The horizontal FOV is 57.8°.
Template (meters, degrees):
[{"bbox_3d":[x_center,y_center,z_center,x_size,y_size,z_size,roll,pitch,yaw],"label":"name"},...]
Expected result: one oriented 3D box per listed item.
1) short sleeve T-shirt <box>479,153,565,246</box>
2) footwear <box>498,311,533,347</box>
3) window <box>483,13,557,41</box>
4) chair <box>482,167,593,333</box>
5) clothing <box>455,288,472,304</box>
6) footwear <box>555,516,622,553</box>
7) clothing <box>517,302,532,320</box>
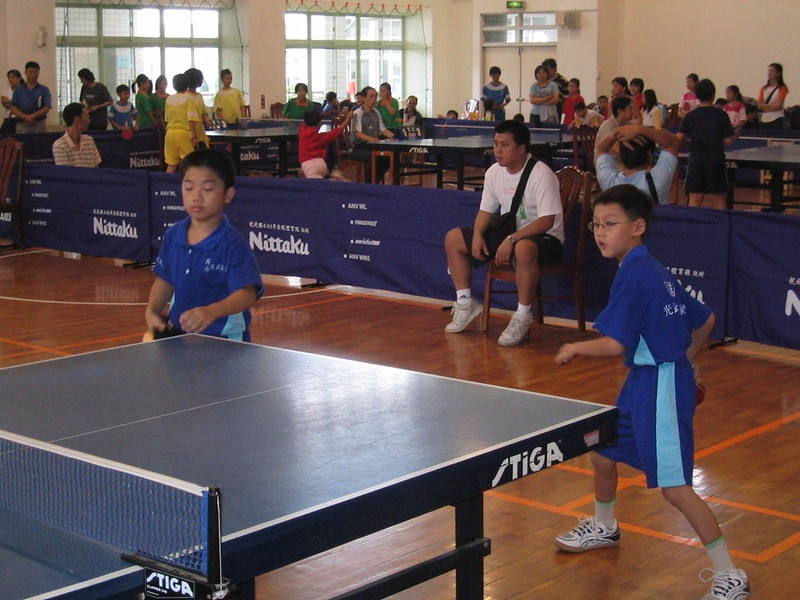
[{"bbox_3d":[0.951,-0.778,5.680,0.704,0.646,0.326,13,25,44],"label":"short sleeve T-shirt"},{"bbox_3d":[0.873,0.240,5.435,0.137,0.155,0.392,25,53,21],"label":"footwear"},{"bbox_3d":[3.265,-7.485,20.145,2.212,0.994,0.205,6,10,31],"label":"window"},{"bbox_3d":[1.089,-0.384,5.760,0.745,1.249,0.774,2,3,39],"label":"chair"},{"bbox_3d":[0.500,-0.020,5.759,0.103,0.118,0.108,-1,-1,-8],"label":"clothing"},{"bbox_3d":[0.726,0.913,2.833,0.257,0.123,0.107,-2,5,-10],"label":"footwear"},{"bbox_3d":[0.923,0.080,5.450,0.076,0.131,0.128,4,-25,46],"label":"clothing"}]
